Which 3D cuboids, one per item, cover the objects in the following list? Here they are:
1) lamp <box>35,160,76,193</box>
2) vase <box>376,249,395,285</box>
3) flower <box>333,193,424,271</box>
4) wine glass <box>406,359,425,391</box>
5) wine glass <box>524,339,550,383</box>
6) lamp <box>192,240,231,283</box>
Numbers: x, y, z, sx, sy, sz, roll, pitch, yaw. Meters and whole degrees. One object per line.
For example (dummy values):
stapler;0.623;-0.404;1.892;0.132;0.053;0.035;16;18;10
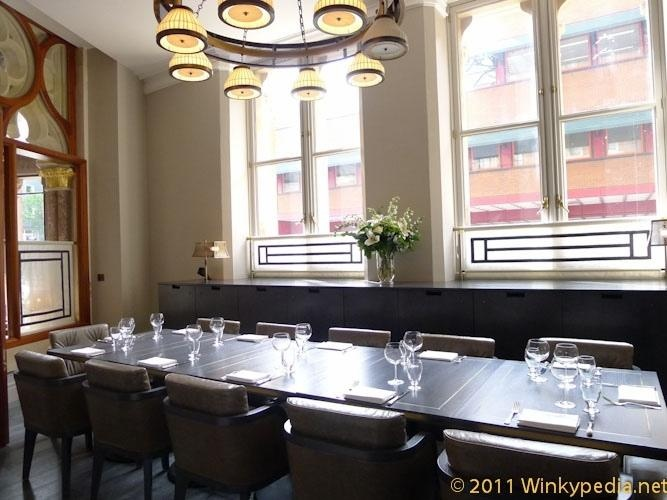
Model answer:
lamp;-3.977;-1.011;7.155;0.429;0.391;0.381;-2;0;-24
vase;0.567;0.193;5.374;0.216;0.392;0.217;-2;-5;28
flower;0.525;-0.166;5.348;0.550;0.500;0.675;-4;-31;-1
wine glass;0.477;0.740;2.978;0.109;0.184;0.113;-6;-6;13
wine glass;1.235;0.646;3.024;0.123;0.248;0.302;-3;2;22
lamp;-1.641;0.172;6.622;0.490;0.781;0.513;-1;-2;20
